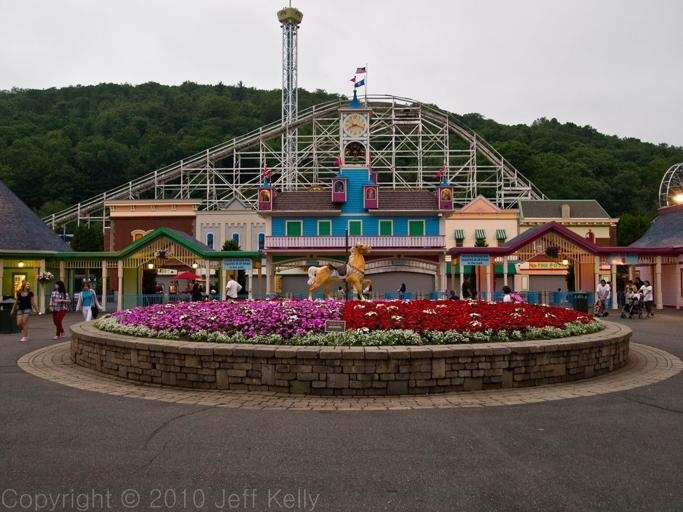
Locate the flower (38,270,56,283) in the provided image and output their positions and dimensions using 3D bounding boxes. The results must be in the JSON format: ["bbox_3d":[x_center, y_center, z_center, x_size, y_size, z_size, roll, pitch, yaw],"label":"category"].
[{"bbox_3d":[-12.390,0.887,35.182,0.613,0.620,0.623,-2,-4,22],"label":"flower"}]

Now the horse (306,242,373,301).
[{"bbox_3d":[-0.066,0.481,26.108,1.794,1.724,2.037,0,0,9],"label":"horse"}]

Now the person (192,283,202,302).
[{"bbox_3d":[-5.559,1.354,31.963,0.268,0.664,1.014,0,0,-13],"label":"person"}]

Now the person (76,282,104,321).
[{"bbox_3d":[-8.617,1.709,28.584,0.882,1.554,0.835,5,-10,-39],"label":"person"}]

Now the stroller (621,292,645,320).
[{"bbox_3d":[11.320,1.925,33.051,0.774,1.004,1.675,0,0,17],"label":"stroller"}]

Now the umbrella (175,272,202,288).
[{"bbox_3d":[-8.843,1.344,47.945,1.509,1.099,1.509,1,-1,0],"label":"umbrella"}]
